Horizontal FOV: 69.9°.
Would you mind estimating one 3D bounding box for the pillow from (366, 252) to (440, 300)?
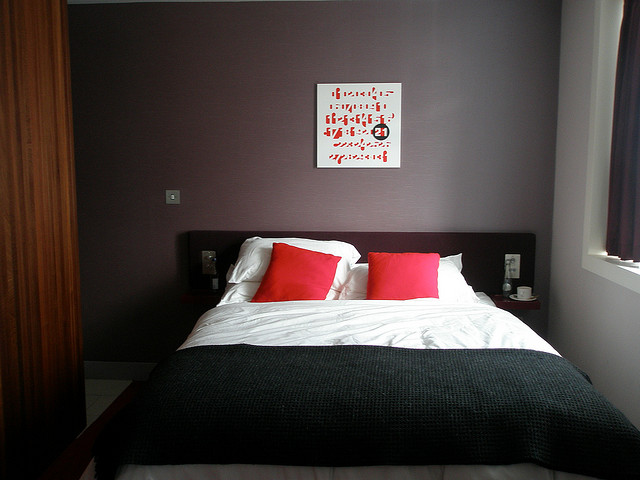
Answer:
[{"bbox_3d":[0.586,0.270,3.249,0.511,0.367,0.189,-1,-11,14],"label":"pillow"}]

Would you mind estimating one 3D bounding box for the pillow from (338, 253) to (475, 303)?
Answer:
[{"bbox_3d":[0.649,0.302,3.320,0.535,0.162,0.472,1,40,5],"label":"pillow"}]

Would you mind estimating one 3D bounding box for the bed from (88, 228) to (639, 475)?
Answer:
[{"bbox_3d":[0.331,0.463,2.775,2.266,0.662,2.260,0,12,11],"label":"bed"}]
